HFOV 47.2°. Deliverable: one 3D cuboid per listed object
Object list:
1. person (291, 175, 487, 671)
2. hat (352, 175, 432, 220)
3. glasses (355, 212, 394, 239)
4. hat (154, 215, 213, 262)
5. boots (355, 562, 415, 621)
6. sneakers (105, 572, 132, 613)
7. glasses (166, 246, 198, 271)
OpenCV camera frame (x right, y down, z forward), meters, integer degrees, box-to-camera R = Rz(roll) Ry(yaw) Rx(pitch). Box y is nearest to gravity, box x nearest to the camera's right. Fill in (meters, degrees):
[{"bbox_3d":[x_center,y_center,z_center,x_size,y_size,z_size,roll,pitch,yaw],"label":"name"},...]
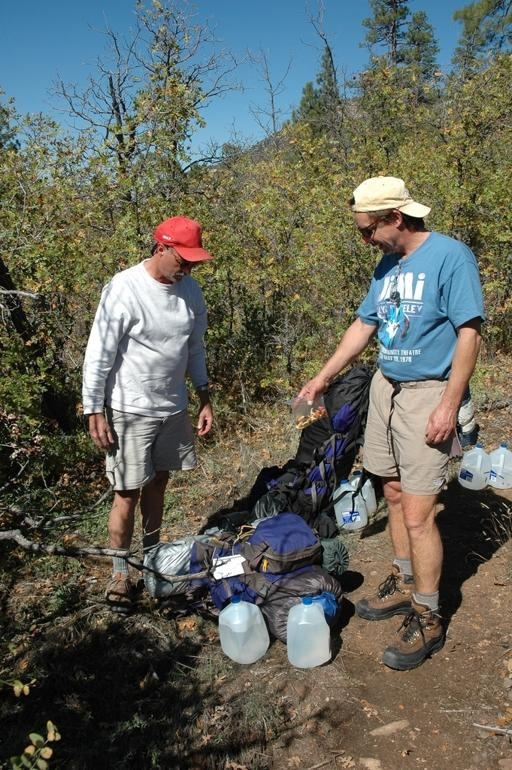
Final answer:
[{"bbox_3d":[0.689,0.195,2.811,0.626,2.295,0.915,-15,9,-15],"label":"person"},{"bbox_3d":[0.590,-0.830,2.548,0.305,0.150,0.183,-1,31,7],"label":"hat"},{"bbox_3d":[0.522,-0.701,2.562,0.097,0.028,0.091,-21,-1,-2],"label":"glasses"},{"bbox_3d":[-0.366,-0.741,2.897,0.299,0.167,0.197,30,30,15],"label":"hat"},{"bbox_3d":[0.704,1.117,3.176,0.377,0.255,0.133,3,3,-23],"label":"boots"},{"bbox_3d":[-0.776,1.171,3.282,0.093,0.107,0.242,12,3,-19],"label":"sneakers"},{"bbox_3d":[-0.367,-0.625,2.855,0.125,0.034,0.097,40,10,20],"label":"glasses"}]
